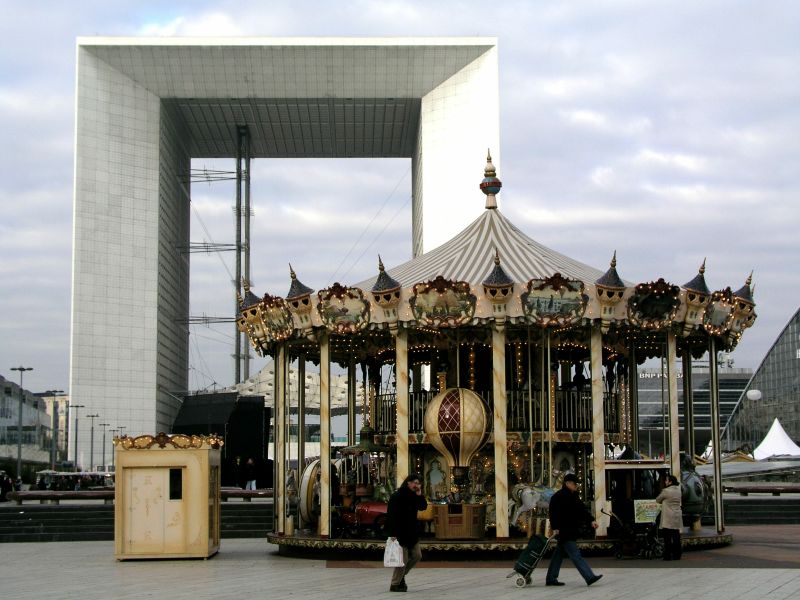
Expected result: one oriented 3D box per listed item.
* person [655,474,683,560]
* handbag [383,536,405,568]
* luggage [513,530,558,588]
[{"bbox_3d":[7.010,5.693,39.319,0.639,2.214,1.013,-2,-7,9],"label":"person"},{"bbox_3d":[-0.157,6.053,35.967,0.450,0.728,0.249,-1,-7,0],"label":"handbag"},{"bbox_3d":[2.930,6.300,36.537,1.259,1.298,0.803,14,-1,-34],"label":"luggage"}]
